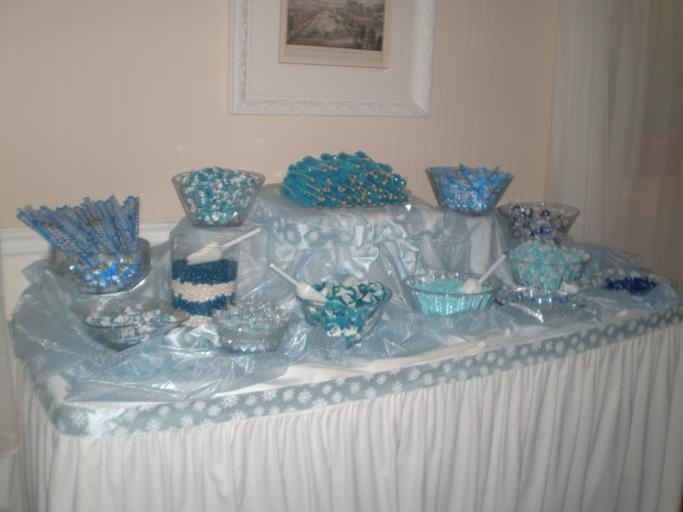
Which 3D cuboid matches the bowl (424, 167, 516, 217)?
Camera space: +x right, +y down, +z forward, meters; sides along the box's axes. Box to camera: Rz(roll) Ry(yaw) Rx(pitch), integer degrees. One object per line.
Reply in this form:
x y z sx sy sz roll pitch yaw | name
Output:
0.390 -0.216 1.738 0.235 0.132 0.171 -12 26 -22 | bowl

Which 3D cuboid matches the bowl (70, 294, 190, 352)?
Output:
-0.504 0.145 1.332 0.245 0.059 0.222 -13 27 -24 | bowl

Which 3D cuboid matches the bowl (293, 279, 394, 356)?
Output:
0.007 0.129 1.359 0.224 0.119 0.161 0 24 4 | bowl

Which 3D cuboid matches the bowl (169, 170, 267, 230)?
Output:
-0.350 -0.140 1.551 0.247 0.141 0.265 -2 -5 0 | bowl

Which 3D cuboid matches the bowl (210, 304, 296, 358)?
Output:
-0.209 0.166 1.321 0.171 0.087 0.112 -13 26 -23 | bowl

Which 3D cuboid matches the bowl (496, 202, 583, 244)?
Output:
0.633 -0.129 1.780 0.209 0.098 0.253 20 32 40 | bowl
